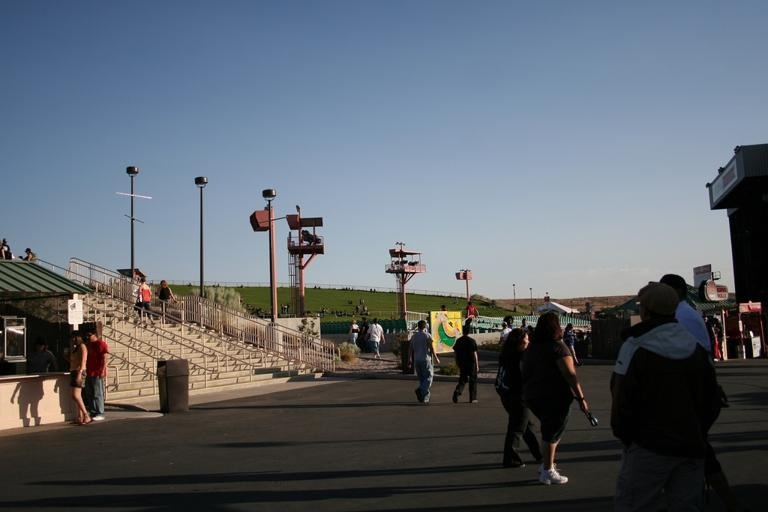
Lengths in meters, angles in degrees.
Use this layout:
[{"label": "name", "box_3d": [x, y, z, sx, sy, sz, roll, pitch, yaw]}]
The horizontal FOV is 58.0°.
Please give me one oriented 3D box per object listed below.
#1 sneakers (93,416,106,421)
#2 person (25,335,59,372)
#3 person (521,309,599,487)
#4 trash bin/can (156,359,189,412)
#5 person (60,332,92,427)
[{"label": "sneakers", "box_3d": [-7.172, 4.096, 17.400, 0.305, 0.127, 0.108, 6, -15, -21]}, {"label": "person", "box_3d": [-8.923, 2.591, 18.012, 0.600, 0.908, 0.614, 0, -6, -28]}, {"label": "person", "box_3d": [2.591, 2.209, 10.734, 0.873, 2.651, 0.340, -5, -6, 19]}, {"label": "trash bin/can", "box_3d": [-5.603, 3.458, 18.367, 0.770, 1.367, 0.537, -1, -6, -19]}, {"label": "person", "box_3d": [-7.689, 3.045, 17.487, 0.503, 2.283, 1.252, -1, -6, -25]}]
